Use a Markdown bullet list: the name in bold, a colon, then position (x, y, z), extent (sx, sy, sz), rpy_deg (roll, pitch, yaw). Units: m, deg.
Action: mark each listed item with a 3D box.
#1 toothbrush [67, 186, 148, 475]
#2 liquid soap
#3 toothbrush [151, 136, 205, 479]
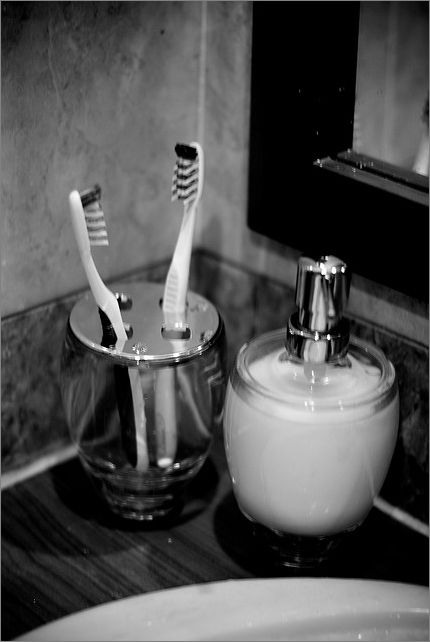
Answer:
- **toothbrush**: position (-0.061, 0.007, 0.367), extent (0.037, 0.176, 0.127), rpy_deg (-1, 9, -7)
- **liquid soap**: position (0.056, 0.047, 0.346), extent (0.101, 0.172, 0.079), rpy_deg (0, 8, 0)
- **toothbrush**: position (-0.020, 0.018, 0.380), extent (0.018, 0.263, 0.024), rpy_deg (5, 8, 28)
